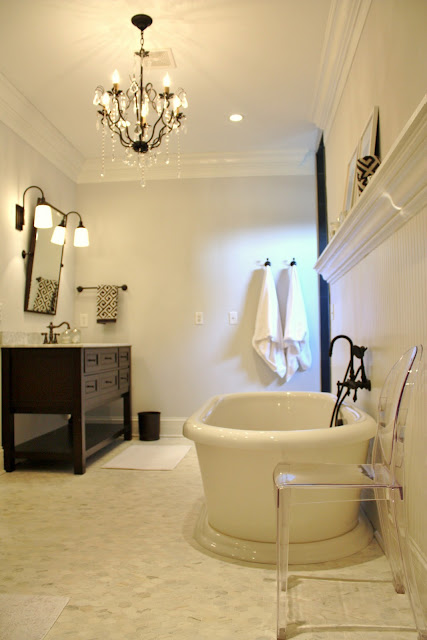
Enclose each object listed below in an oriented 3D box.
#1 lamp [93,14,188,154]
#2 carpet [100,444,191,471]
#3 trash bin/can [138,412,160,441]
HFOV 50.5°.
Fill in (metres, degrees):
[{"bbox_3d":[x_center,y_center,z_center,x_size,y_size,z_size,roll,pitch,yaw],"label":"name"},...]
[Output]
[{"bbox_3d":[-0.406,-1.318,2.505,0.329,0.666,0.396,7,10,24],"label":"lamp"},{"bbox_3d":[-0.451,0.984,3.310,0.506,0.034,0.865,-2,-5,8],"label":"carpet"},{"bbox_3d":[-0.545,0.904,3.824,0.165,0.242,0.196,1,-1,-9],"label":"trash bin/can"}]
